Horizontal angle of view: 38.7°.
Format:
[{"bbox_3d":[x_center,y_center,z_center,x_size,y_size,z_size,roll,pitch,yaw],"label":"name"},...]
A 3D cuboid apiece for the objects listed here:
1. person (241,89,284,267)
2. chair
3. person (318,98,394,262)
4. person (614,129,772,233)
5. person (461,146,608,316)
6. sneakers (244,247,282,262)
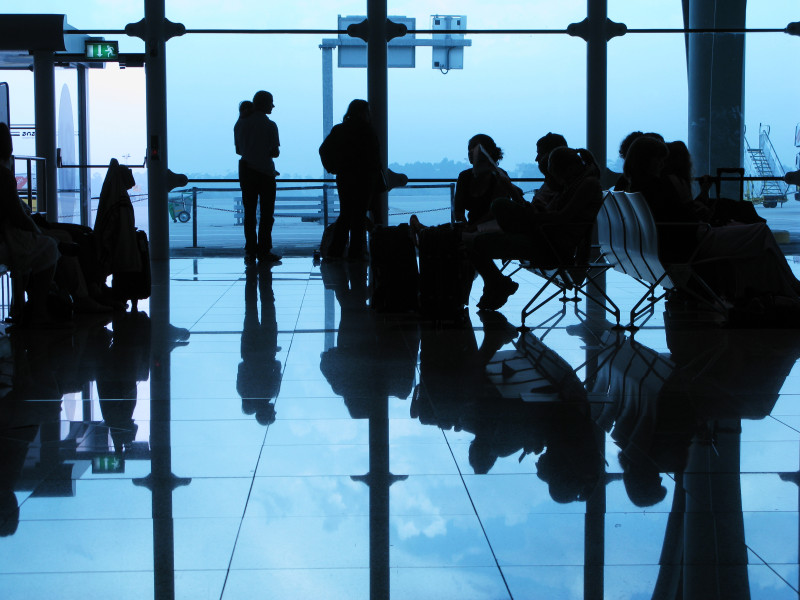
[{"bbox_3d":[-1.394,-1.189,11.385,0.405,1.702,0.615,-1,8,-8],"label":"person"},{"bbox_3d":[1.453,-0.262,8.289,0.881,0.921,1.323,1,4,2],"label":"chair"},{"bbox_3d":[-0.428,-1.137,10.995,0.617,1.507,0.545,0,8,5],"label":"person"},{"bbox_3d":[2.226,-0.828,8.563,1.142,0.782,0.602,3,22,44],"label":"person"},{"bbox_3d":[0.909,-0.468,7.917,0.879,1.294,0.849,2,7,3],"label":"person"},{"bbox_3d":[-1.434,-0.457,11.806,0.441,0.224,0.163,2,8,-4],"label":"sneakers"}]
